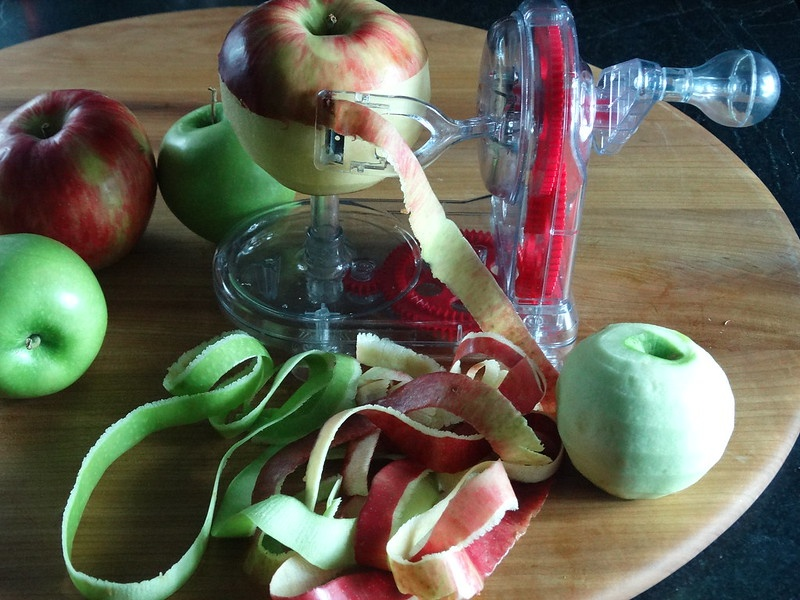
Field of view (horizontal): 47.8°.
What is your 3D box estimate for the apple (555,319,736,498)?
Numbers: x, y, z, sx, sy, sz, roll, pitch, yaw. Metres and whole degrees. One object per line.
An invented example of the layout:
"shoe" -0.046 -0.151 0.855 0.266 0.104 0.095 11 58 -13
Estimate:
"apple" 0.250 0.113 0.991 0.175 0.164 0.169 -1 30 3
